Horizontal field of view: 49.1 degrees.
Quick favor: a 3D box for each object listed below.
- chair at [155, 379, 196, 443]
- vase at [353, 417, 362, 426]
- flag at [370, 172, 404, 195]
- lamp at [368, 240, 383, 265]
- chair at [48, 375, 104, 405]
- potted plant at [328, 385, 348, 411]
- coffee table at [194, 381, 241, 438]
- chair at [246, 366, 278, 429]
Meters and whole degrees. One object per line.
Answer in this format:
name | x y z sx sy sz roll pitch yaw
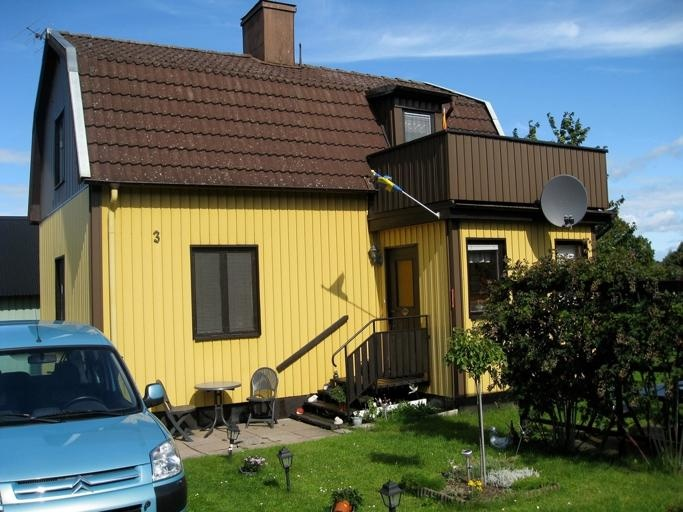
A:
chair | -3.445 3.176 15.544 0.789 1.269 0.781 -1 -1 -1
vase | 0.335 3.463 15.730 0.186 0.158 0.247 -3 10 0
flag | 0.939 -1.665 16.995 0.729 0.268 0.488 41 40 25
lamp | 0.827 -0.082 18.165 0.357 0.545 0.291 -3 10 2
chair | -3.948 2.006 11.130 0.470 0.213 0.380 8 13 -21
potted plant | -0.101 3.055 16.329 0.371 0.577 0.489 -5 -2 -18
coffee table | -2.612 3.221 15.907 0.869 0.939 0.863 -11 -13 35
chair | -1.740 3.098 16.385 0.698 1.163 0.931 -3 10 -1
